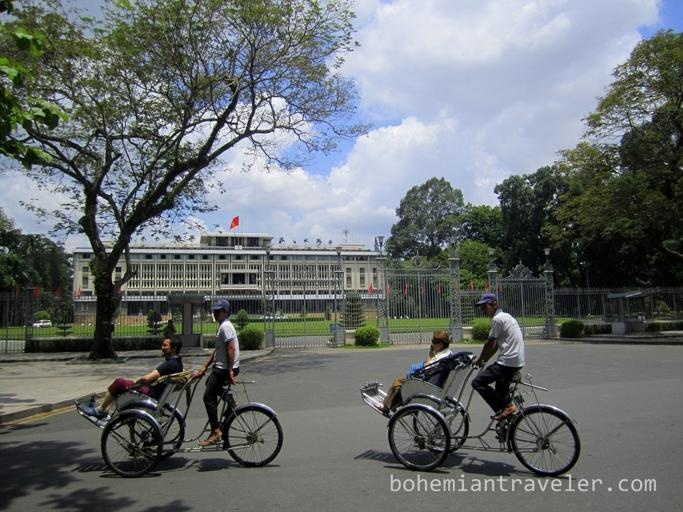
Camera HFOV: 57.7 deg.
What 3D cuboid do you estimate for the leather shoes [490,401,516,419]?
[{"bbox_3d":[2.685,2.574,10.264,0.385,0.239,0.167,-40,-4,-6],"label":"leather shoes"}]

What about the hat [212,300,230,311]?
[{"bbox_3d":[-2.168,0.882,11.078,0.238,0.133,0.184,8,-5,3],"label":"hat"}]

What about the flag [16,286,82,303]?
[{"bbox_3d":[-18.769,2.355,39.401,2.025,0.974,3.403,5,-8,0],"label":"flag"}]

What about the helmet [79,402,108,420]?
[{"bbox_3d":[-4.251,2.654,10.645,0.430,0.188,0.216,31,7,-29],"label":"helmet"}]

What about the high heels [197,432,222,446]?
[{"bbox_3d":[-2.262,3.098,10.491,0.169,0.228,0.493,-15,-22,39],"label":"high heels"}]

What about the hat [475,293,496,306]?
[{"bbox_3d":[2.528,0.752,10.788,0.307,0.172,0.219,1,-9,-7],"label":"hat"}]
